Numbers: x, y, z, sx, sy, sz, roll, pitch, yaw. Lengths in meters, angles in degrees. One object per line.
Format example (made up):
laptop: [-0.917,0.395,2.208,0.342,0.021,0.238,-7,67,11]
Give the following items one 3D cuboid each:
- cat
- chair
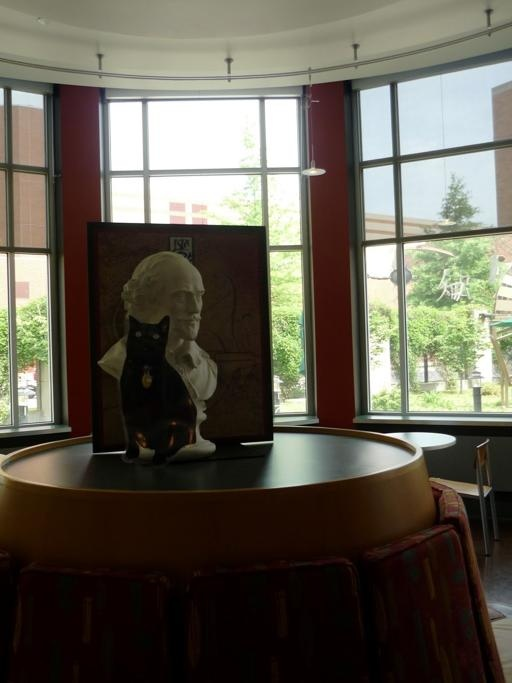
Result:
cat: [-0.241,0.118,1.572,0.177,0.339,0.087,-3,0,-5]
chair: [1.814,1.237,4.998,0.718,0.804,0.731,-6,-21,25]
